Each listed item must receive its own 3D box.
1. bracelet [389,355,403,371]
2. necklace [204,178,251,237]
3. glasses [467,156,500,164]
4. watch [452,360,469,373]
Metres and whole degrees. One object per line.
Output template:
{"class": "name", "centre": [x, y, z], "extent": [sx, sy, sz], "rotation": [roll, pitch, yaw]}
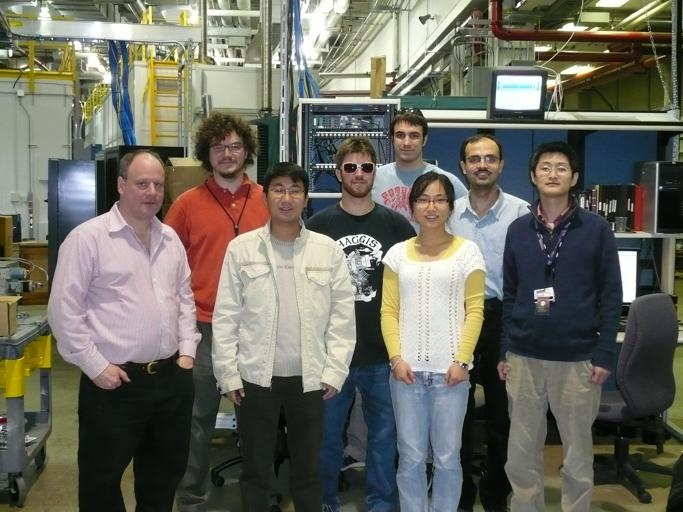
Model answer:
{"class": "bracelet", "centre": [0.309, 0.620, 3.970], "extent": [0.067, 0.083, 0.074], "rotation": [20, -35, -27]}
{"class": "necklace", "centre": [-0.692, -0.292, 4.270], "extent": [0.342, 0.322, 0.134], "rotation": [-2, -20, -21]}
{"class": "glasses", "centre": [0.903, -0.620, 4.370], "extent": [0.166, 0.049, 0.044], "rotation": [1, 7, 14]}
{"class": "watch", "centre": [0.687, 0.629, 3.929], "extent": [0.083, 0.055, 0.074], "rotation": [35, -21, 3]}
